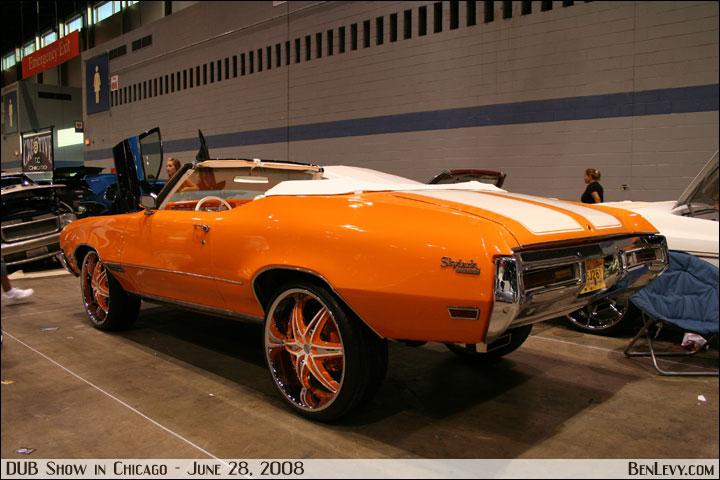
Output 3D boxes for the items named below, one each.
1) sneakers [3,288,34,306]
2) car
[{"bbox_3d":[-4.320,0.712,5.531,0.391,0.140,0.133,-18,8,-23],"label":"sneakers"},{"bbox_3d":[-0.593,0.142,3.918,4.882,1.456,2.399,7,5,40],"label":"car"}]
